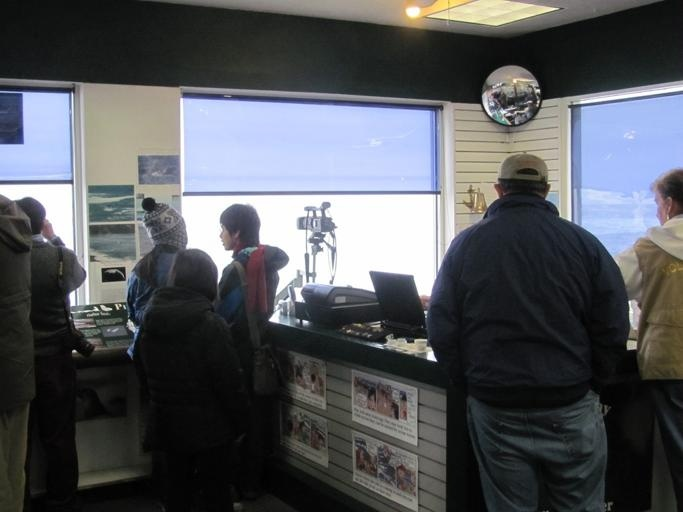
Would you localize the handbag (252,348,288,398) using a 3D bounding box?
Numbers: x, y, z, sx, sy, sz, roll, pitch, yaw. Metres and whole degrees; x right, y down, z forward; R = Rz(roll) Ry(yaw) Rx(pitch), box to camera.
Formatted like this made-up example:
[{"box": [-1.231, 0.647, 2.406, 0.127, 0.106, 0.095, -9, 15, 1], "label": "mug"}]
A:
[{"box": [-0.489, 0.764, 3.871, 0.165, 0.315, 0.237, 1, 2, 41], "label": "handbag"}]

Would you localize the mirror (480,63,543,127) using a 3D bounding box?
[{"box": [1.801, -1.679, 5.987, 0.669, 0.687, 0.097, 2, 13, 17], "label": "mirror"}]

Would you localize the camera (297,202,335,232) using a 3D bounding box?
[{"box": [-0.180, -0.285, 4.289, 0.303, 0.301, 0.171, 0, 0, 40], "label": "camera"}]

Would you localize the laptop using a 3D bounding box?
[{"box": [0.344, 0.287, 3.480, 0.183, 0.398, 0.383, -5, 7, -41], "label": "laptop"}]
